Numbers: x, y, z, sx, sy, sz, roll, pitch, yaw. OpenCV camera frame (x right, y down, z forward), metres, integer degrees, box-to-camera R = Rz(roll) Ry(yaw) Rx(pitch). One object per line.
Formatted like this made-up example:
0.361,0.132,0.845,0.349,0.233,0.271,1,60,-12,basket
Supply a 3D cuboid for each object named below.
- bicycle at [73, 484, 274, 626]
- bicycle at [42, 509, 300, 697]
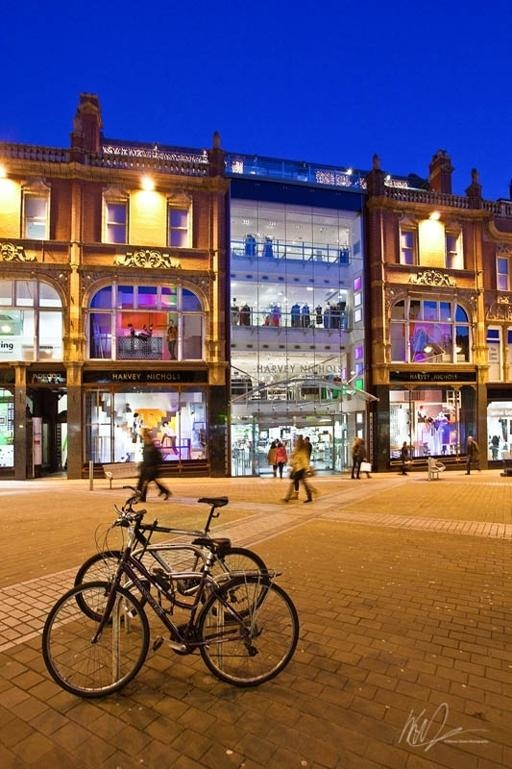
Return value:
-0.667,1.399,5.862,1.827,1.147,0.904,1,-8,-2,bicycle
-0.622,1.573,5.471,1.833,1.473,0.822,-2,0,2,bicycle
